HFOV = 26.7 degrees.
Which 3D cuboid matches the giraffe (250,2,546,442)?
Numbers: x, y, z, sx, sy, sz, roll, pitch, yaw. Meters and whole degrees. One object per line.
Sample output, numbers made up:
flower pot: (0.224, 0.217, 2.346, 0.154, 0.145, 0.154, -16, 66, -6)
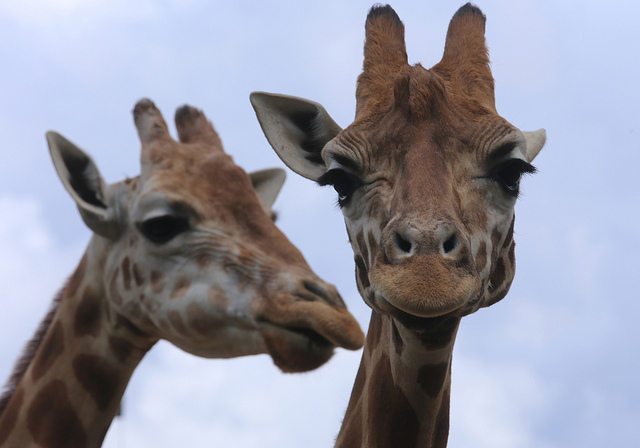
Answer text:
giraffe: (0.933, 0.133, 13.528, 2.026, 3.673, 3.242, 9, -40, 1)
